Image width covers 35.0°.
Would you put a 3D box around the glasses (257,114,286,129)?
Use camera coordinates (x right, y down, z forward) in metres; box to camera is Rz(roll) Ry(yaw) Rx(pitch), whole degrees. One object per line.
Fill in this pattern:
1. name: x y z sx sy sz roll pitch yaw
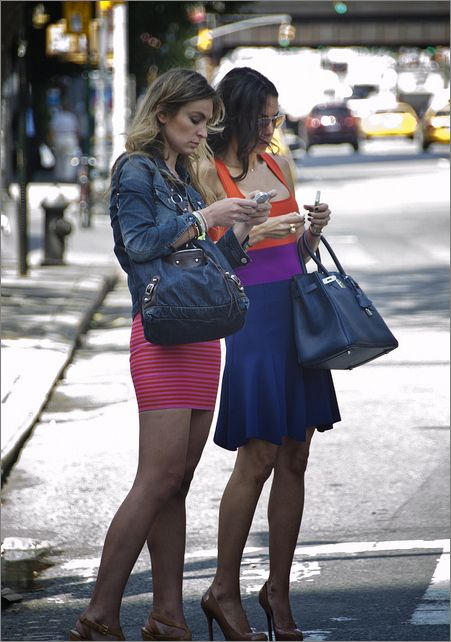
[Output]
1. glasses: 0.164 -0.726 2.578 0.101 0.029 0.099 3 8 36

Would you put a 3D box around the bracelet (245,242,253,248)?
1. bracelet: 0.079 -0.259 2.413 0.019 0.026 0.029 -1 -7 5

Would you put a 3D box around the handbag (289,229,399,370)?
1. handbag: 0.394 -0.007 2.403 0.348 0.377 0.386 -1 7 -17

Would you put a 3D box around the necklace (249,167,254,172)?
1. necklace: 0.097 -0.566 2.665 0.018 0.016 0.007 -7 -29 -28

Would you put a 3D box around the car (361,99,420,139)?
1. car: 9.617 -11.895 42.242 3.497 1.063 2.365 3 16 19

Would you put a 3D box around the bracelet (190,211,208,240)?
1. bracelet: -0.073 -0.277 2.056 0.032 0.068 0.060 -14 46 -4

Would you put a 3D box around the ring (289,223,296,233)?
1. ring: 0.233 -0.323 2.470 0.026 0.022 0.006 0 2 -32
